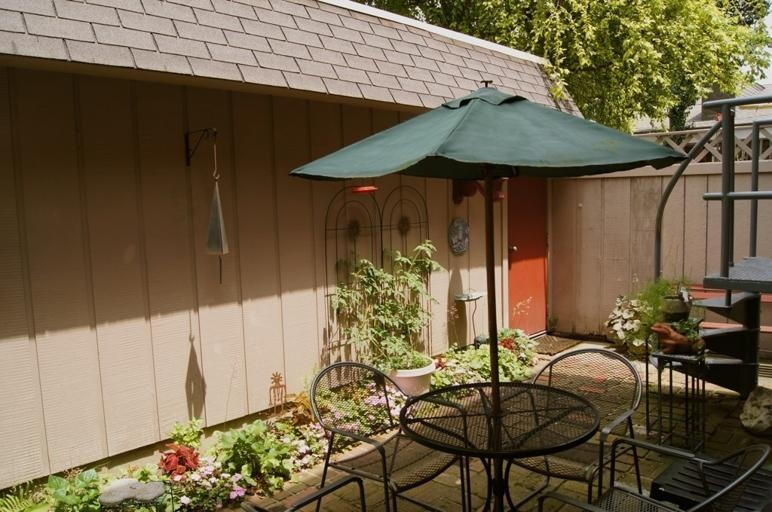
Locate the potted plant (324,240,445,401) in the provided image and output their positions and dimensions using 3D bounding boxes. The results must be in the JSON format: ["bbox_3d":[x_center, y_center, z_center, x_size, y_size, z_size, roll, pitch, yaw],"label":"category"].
[{"bbox_3d":[-0.076,0.708,7.013,1.081,2.063,1.644,2,4,45],"label":"potted plant"}]

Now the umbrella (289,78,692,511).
[{"bbox_3d":[0.578,0.352,5.755,3.265,3.272,3.364,-1,4,5],"label":"umbrella"}]
